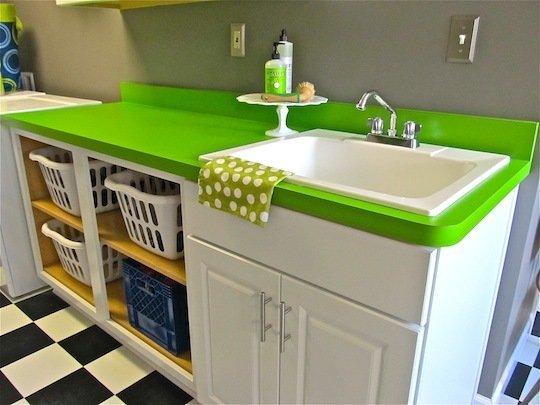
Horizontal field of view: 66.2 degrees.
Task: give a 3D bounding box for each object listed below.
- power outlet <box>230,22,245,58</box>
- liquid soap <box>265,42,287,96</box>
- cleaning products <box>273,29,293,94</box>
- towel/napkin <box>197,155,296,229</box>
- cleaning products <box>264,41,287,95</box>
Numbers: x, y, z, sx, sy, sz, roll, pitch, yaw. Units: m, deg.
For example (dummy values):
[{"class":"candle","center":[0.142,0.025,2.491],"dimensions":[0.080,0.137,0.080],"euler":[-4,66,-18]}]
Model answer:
[{"class":"power outlet","center":[-0.149,-0.733,1.863],"dimensions":[0.080,0.130,0.015],"euler":[-8,24,-24]},{"class":"liquid soap","center":[0.029,-0.529,1.623],"dimensions":[0.080,0.180,0.119],"euler":[4,25,11]},{"class":"cleaning products","center":[0.070,-0.566,1.682],"dimensions":[0.070,0.252,0.083],"euler":[-18,28,-42]},{"class":"towel/napkin","center":[-0.076,-0.040,1.238],"dimensions":[0.278,0.150,0.112],"euler":[16,29,32]},{"class":"cleaning products","center":[0.013,-0.520,1.607],"dimensions":[0.086,0.192,0.091],"euler":[16,23,40]}]
